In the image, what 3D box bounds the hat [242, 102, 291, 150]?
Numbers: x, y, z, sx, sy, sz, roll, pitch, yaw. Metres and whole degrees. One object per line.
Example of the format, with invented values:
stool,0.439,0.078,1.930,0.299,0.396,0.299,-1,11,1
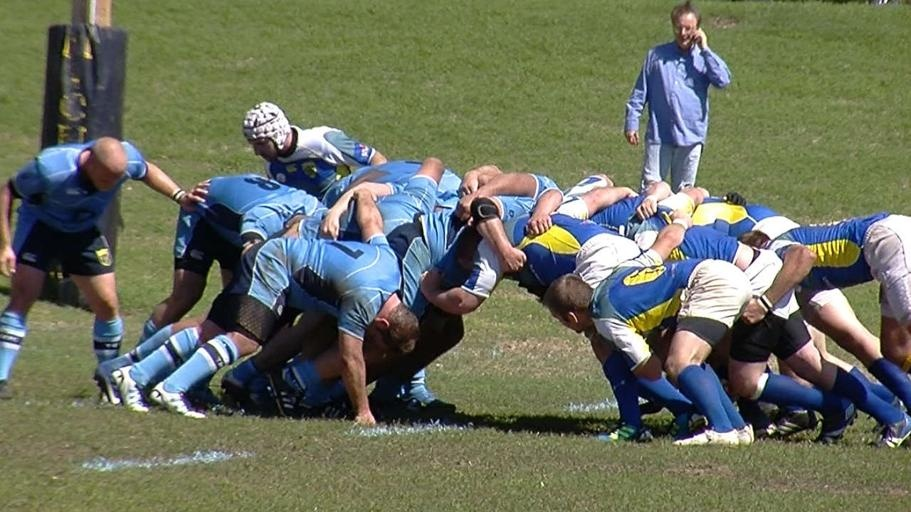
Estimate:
hat,-3.100,-2.086,24.969,0.745,0.763,0.905,7,10,35
